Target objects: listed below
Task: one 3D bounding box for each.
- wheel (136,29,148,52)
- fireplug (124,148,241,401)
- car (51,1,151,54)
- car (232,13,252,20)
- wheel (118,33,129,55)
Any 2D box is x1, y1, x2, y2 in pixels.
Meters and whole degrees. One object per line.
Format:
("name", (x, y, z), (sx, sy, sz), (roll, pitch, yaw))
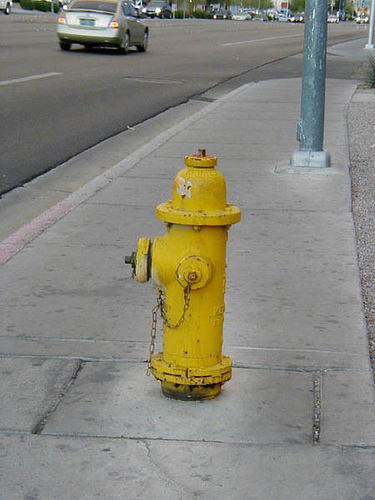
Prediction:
("wheel", (-1.644, -7.581, 28.018), (0.568, 0.553, 0.516), (0, 10, -4))
("fireplug", (-0.019, 0.104, 3.263), (0.456, 1.054, 0.377), (2, 19, 3))
("car", (-2.852, -7.390, 25.507), (2.136, 1.687, 3.123), (7, 20, 17))
("car", (7.914, -34.940, 114.671), (2.429, 1.519, 3.637), (5, 19, 18))
("wheel", (-2.147, -6.884, 25.776), (0.129, 0.511, 0.548), (12, 2, 17))
